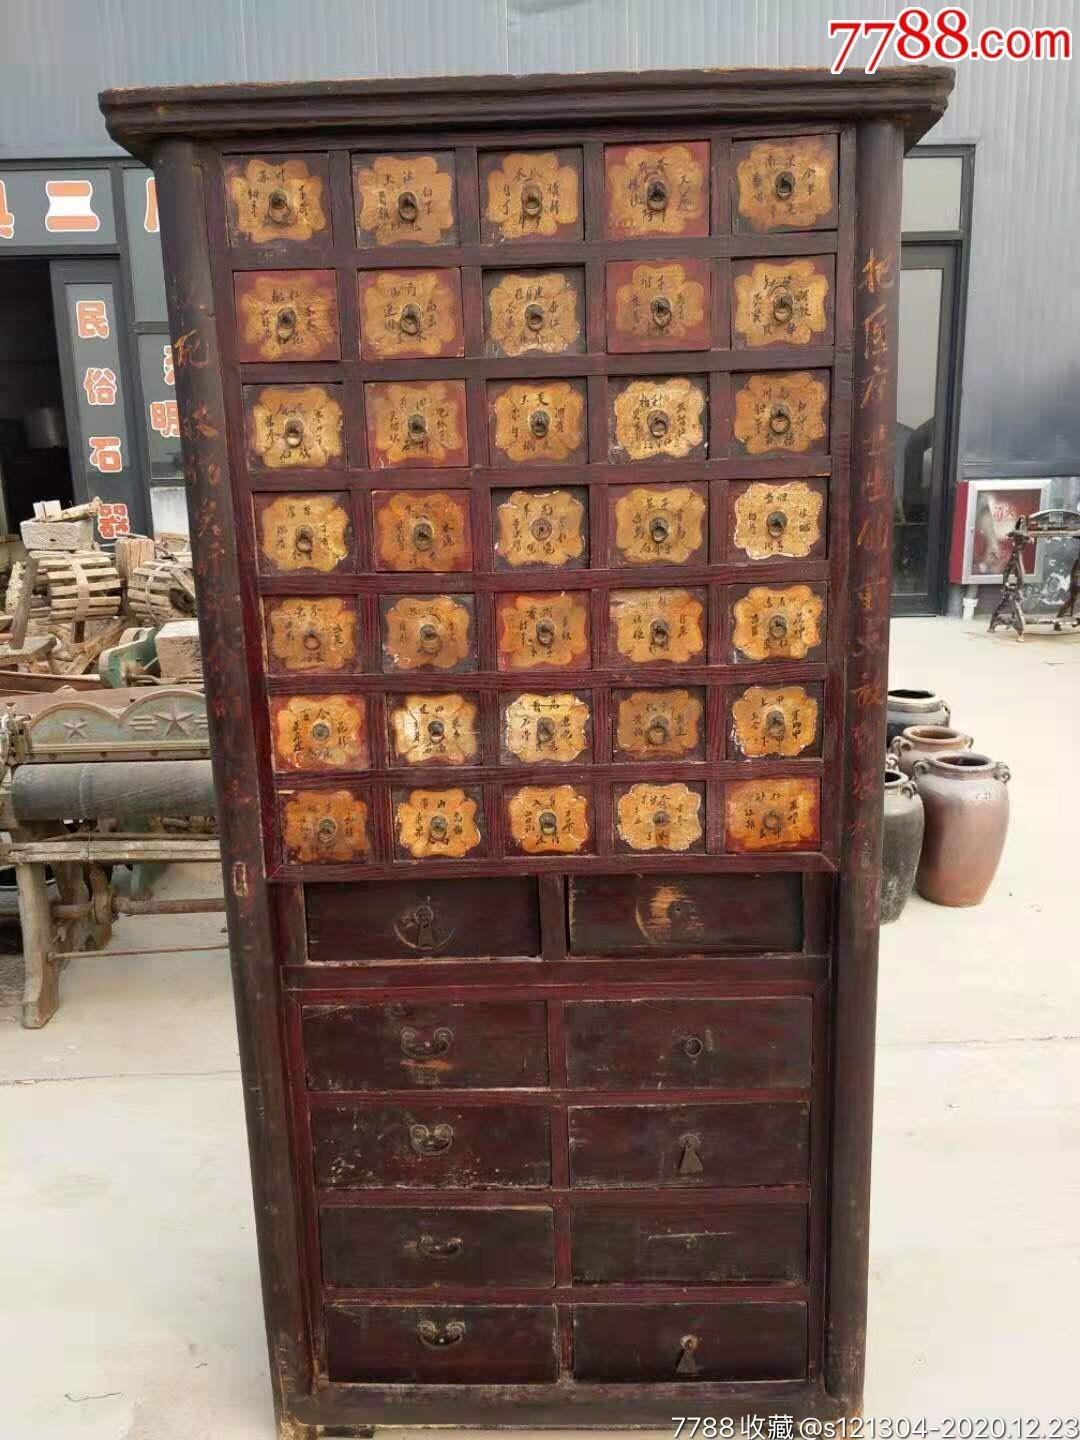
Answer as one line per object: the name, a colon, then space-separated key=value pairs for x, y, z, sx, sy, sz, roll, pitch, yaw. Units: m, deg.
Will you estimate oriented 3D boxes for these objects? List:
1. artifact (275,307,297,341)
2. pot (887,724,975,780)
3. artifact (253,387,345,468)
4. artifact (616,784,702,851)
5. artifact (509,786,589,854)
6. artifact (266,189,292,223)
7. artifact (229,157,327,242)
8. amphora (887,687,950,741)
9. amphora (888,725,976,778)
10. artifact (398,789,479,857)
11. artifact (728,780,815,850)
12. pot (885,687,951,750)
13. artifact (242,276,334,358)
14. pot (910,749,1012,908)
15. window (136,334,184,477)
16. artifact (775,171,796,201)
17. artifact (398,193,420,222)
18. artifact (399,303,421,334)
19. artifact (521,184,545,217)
artifact: x=-0.398 y=-0.620 z=2.104 sx=0.034 sy=0.041 sz=0.019 roll=0 pitch=9 yaw=2
pot: x=1.441 y=0.080 z=4.940 sx=0.275 sy=0.195 sz=0.244 roll=-5 pitch=9 yaw=-30
artifact: x=-0.385 y=-0.458 z=2.141 sx=0.150 sy=0.121 sz=0.056 roll=1 pitch=4 yaw=1
artifact: x=0.209 y=0.149 z=2.284 sx=0.146 sy=0.113 sz=0.066 roll=4 pitch=7 yaw=4
artifact: x=0.018 y=0.165 z=2.313 sx=0.134 sy=0.107 sz=0.051 roll=2 pitch=11 yaw=2
artifact: x=-0.403 y=-0.790 z=2.075 sx=0.036 sy=0.043 sz=0.015 roll=0 pitch=9 yaw=4
artifact: x=-0.406 y=-0.803 z=2.127 sx=0.161 sy=0.120 sz=0.040 roll=-1 pitch=9 yaw=2
amphora: x=1.453 y=-0.019 z=5.196 sx=0.255 sy=0.205 sz=0.201 roll=-1 pitch=6 yaw=-4
amphora: x=1.423 y=0.090 z=4.910 sx=0.269 sy=0.189 sz=0.238 roll=-5 pitch=9 yaw=-30
artifact: x=-0.173 y=0.176 z=2.269 sx=0.148 sy=0.112 sz=0.028 roll=-1 pitch=15 yaw=4
artifact: x=0.396 y=0.156 z=2.255 sx=0.172 sy=0.111 sz=0.037 roll=0 pitch=12 yaw=2
pot: x=1.420 y=-0.001 z=5.078 sx=0.276 sy=0.223 sz=0.217 roll=-1 pitch=6 yaw=-6
artifact: x=-0.391 y=-0.632 z=2.121 sx=0.188 sy=0.153 sz=0.039 roll=0 pitch=9 yaw=18
pot: x=1.453 y=0.398 z=4.678 sx=0.382 sy=0.528 sz=0.358 roll=0 pitch=15 yaw=0
window: x=-2.563 y=-1.998 z=9.240 sx=0.206 sy=0.756 sz=0.012 roll=-3 pitch=-23 yaw=-9
artifact: x=0.376 y=-0.818 z=2.062 sx=0.030 sy=0.037 sz=0.014 roll=1 pitch=11 yaw=4
artifact: x=-0.203 y=-0.786 z=2.071 sx=0.032 sy=0.039 sz=0.015 roll=-2 pitch=10 yaw=-2
artifact: x=-0.202 y=-0.625 z=2.101 sx=0.032 sy=0.040 sz=0.010 roll=0 pitch=11 yaw=2
artifact: x=-0.013 y=-0.799 z=2.072 sx=0.035 sy=0.042 sz=0.038 roll=1 pitch=13 yaw=-3
